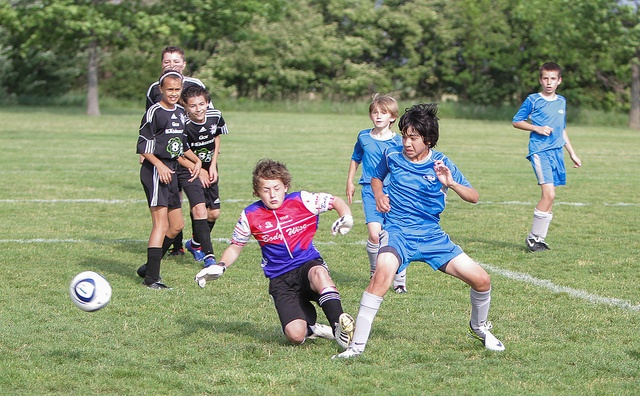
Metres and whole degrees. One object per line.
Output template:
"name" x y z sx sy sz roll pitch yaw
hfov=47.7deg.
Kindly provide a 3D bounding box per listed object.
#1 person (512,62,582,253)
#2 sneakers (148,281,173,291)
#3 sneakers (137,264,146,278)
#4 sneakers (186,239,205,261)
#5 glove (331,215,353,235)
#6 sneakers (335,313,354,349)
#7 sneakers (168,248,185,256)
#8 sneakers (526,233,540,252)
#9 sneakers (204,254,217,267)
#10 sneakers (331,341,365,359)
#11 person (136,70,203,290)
"person" 3.601 -0.666 11.455 0.942 2.933 0.925 4 8 18
"sneakers" -2.151 1.197 9.798 0.352 0.138 0.120 0 9 -2
"sneakers" -2.471 1.011 9.996 0.104 0.086 0.233 -46 11 -11
"sneakers" -1.869 0.774 10.812 0.121 0.327 0.148 -41 1 -21
"glove" 0.208 0.334 8.402 0.289 0.133 0.164 -37 -27 33
"sneakers" 0.266 1.525 8.402 0.171 0.425 0.199 -3 -1 -26
"sneakers" -2.205 0.834 11.086 0.283 0.115 0.096 -1 0 -13
"sneakers" 3.324 0.701 11.291 0.167 0.257 0.133 -16 -7 19
"sneakers" -1.584 0.880 10.156 0.164 0.199 0.463 1 2 -14
"sneakers" 0.338 1.808 8.510 0.415 0.163 0.134 1 -3 -8
"person" -2.221 -0.102 9.949 0.548 2.597 0.731 3 7 7
